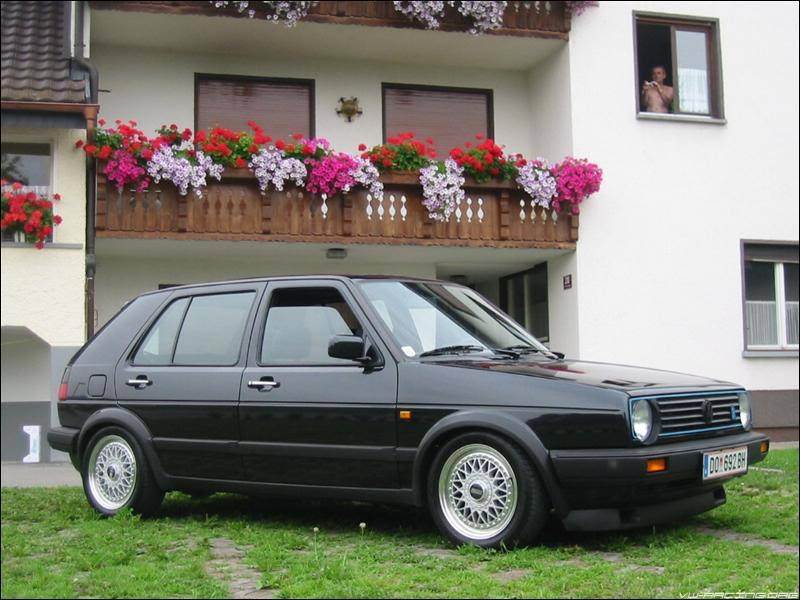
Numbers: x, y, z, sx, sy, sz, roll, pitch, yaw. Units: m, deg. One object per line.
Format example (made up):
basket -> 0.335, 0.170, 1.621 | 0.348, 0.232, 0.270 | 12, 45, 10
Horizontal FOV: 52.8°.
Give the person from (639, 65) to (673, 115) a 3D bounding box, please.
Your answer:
person -> 4.893, -3.992, 15.204 | 0.707, 0.914, 0.258 | -2, 3, -21
